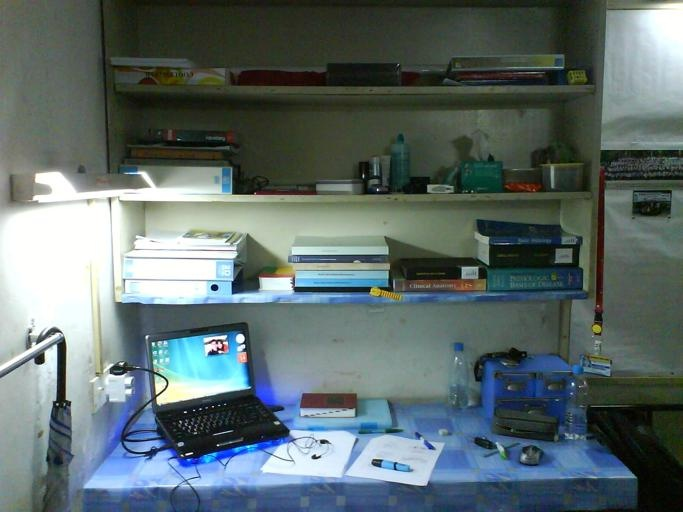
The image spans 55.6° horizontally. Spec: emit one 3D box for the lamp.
[{"bbox_3d":[-0.844,-0.229,2.109,0.195,0.100,0.428,4,11,26],"label":"lamp"}]

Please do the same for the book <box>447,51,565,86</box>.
[{"bbox_3d":[0.624,-0.707,2.463,0.451,0.120,0.115,-1,10,-2],"label":"book"}]

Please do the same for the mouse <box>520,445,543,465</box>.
[{"bbox_3d":[0.694,0.734,2.385,0.053,0.022,0.075,0,13,13],"label":"mouse"}]

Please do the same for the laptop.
[{"bbox_3d":[-0.544,0.523,2.604,0.482,0.494,0.354,-5,1,-26],"label":"laptop"}]

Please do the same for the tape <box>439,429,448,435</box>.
[{"bbox_3d":[0.402,0.695,2.564,0.022,0.012,0.023,-1,3,14],"label":"tape"}]

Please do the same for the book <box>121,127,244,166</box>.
[{"bbox_3d":[-0.638,-0.441,2.589,0.427,0.130,0.186,-1,10,2],"label":"book"}]

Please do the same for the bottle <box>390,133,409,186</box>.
[{"bbox_3d":[0.235,-0.381,2.633,0.077,0.224,0.170,0,10,7],"label":"bottle"}]
